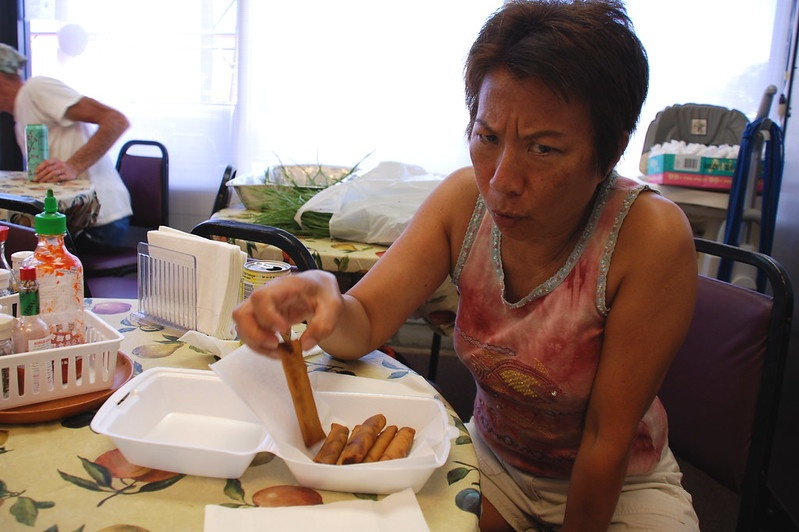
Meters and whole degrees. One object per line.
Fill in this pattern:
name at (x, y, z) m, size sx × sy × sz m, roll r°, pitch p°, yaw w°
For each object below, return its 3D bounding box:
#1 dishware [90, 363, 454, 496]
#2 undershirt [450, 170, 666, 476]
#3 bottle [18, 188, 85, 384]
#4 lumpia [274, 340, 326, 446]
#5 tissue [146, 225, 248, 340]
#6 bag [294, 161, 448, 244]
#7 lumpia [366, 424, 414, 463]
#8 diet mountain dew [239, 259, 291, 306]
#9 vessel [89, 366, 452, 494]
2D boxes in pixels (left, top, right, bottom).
dishware at (-0.265, 0.383, 1.275) m, size 0.649 × 0.109 × 0.308 m, roll 5°, pitch 24°, yaw 1°
undershirt at (0.404, 0.138, 1.454) m, size 0.406 × 0.743 × 0.548 m, roll -23°, pitch 28°, yaw -32°
bottle at (-0.856, 0.053, 1.421) m, size 0.154 × 0.460 × 0.154 m, roll 5°, pitch 1°, yaw 0°
lumpia at (-0.217, 0.283, 1.303) m, size 0.056 × 0.230 × 0.074 m, roll -9°, pitch 1°, yaw 31°
tissue at (-0.558, 0.059, 1.606) m, size 0.289 × 0.225 × 0.115 m, roll 13°, pitch 12°, yaw 29°
bag at (-0.148, -0.221, 2.650) m, size 0.460 × 0.172 × 0.462 m, roll 8°, pitch 39°, yaw 40°
lumpia at (-0.018, 0.389, 1.276) m, size 0.050 × 0.025 × 0.086 m, roll 13°, pitch 30°, yaw 19°
diet mountain dew at (-0.355, 0.042, 1.604) m, size 0.117 × 0.132 × 0.116 m, roll -1°, pitch 26°, yaw -5°
vessel at (-0.261, 0.373, 1.275) m, size 0.710 × 0.127 × 0.302 m, roll 5°, pitch 25°, yaw 2°
